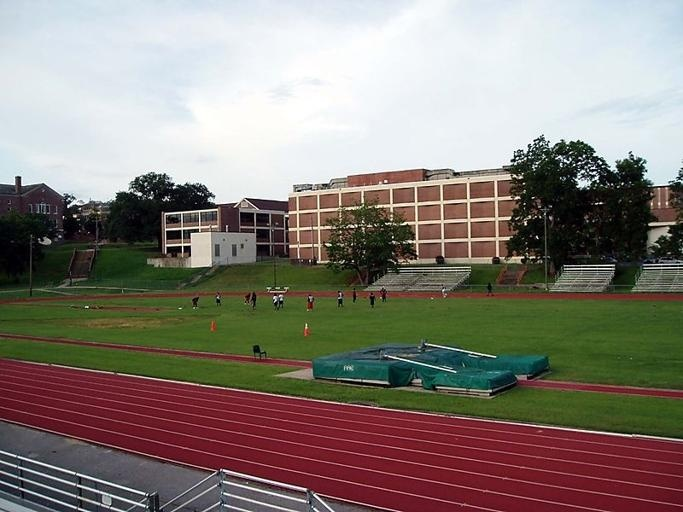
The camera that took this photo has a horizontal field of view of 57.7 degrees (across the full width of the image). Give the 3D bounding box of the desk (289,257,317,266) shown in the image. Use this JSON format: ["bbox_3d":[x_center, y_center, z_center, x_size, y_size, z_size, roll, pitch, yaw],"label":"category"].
[{"bbox_3d":[-6.381,0.998,106.771,4.498,1.037,2.270,-2,1,4],"label":"desk"}]
